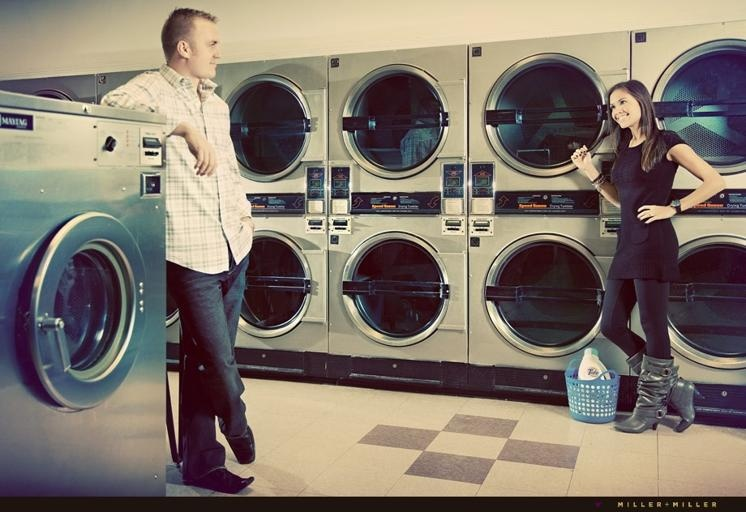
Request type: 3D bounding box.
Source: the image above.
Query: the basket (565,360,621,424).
[{"bbox_3d":[1.325,0.832,3.437,0.331,0.298,0.284,-2,2,-11],"label":"basket"}]

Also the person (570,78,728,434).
[{"bbox_3d":[1.577,-0.015,3.261,0.742,2.017,0.509,5,11,36],"label":"person"}]

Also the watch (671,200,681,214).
[{"bbox_3d":[1.748,-0.290,3.195,0.052,0.074,0.076,-6,15,0],"label":"watch"}]

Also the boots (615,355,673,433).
[{"bbox_3d":[1.597,0.792,3.237,0.344,0.431,0.163,-6,10,-32],"label":"boots"}]

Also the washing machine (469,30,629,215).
[{"bbox_3d":[1.175,-0.764,4.066,1.322,1.437,1.031,0,0,17],"label":"washing machine"}]

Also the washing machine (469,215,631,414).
[{"bbox_3d":[0.991,0.401,4.145,1.227,1.542,1.142,0,-4,11],"label":"washing machine"}]

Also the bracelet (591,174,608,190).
[{"bbox_3d":[1.409,-0.467,3.440,0.076,0.054,0.098,-17,7,-8],"label":"bracelet"}]
